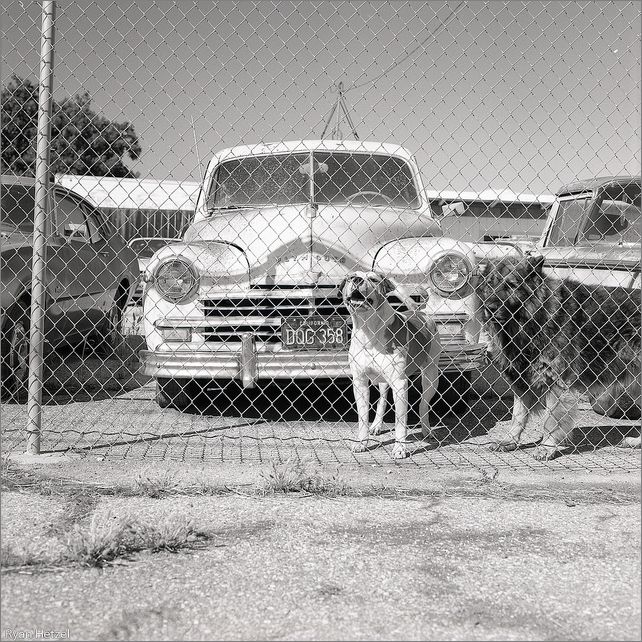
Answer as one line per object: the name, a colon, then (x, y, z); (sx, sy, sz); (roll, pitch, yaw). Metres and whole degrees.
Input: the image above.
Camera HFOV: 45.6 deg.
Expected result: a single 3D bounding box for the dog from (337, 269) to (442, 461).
dog: (0.377, 0.228, 4.325); (0.483, 1.021, 0.804); (3, 4, 18)
